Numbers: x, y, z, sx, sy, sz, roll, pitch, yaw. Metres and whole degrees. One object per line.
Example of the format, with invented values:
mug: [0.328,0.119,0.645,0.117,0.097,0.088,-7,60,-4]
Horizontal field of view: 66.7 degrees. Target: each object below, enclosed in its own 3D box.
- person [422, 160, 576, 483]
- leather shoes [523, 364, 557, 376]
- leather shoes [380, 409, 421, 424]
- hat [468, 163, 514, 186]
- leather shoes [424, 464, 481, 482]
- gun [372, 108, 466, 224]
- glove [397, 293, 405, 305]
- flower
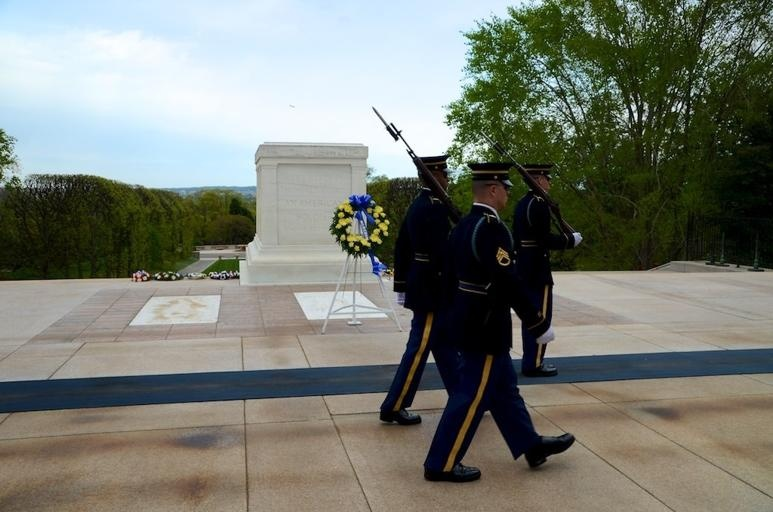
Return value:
person: [0.865,0.529,4.851,1.107,2.559,0.647,0,11,-2]
leather shoes: [1.800,1.345,6.890,0.392,0.164,0.145,-3,4,-3]
leather shoes: [0.129,1.553,5.708,0.415,0.181,0.151,0,5,-5]
hat: [0.859,-0.695,4.887,0.266,0.128,0.239,3,0,2]
leather shoes: [0.555,1.771,4.765,0.388,0.153,0.177,-1,3,-7]
gun: [0.252,-0.874,5.392,0.355,0.085,1.707,27,-2,24]
glove: [0.144,0.430,5.899,0.109,0.121,0.110,1,3,27]
flower: [-0.416,-0.435,9.107,0.891,0.927,0.397,-8,-8,-2]
